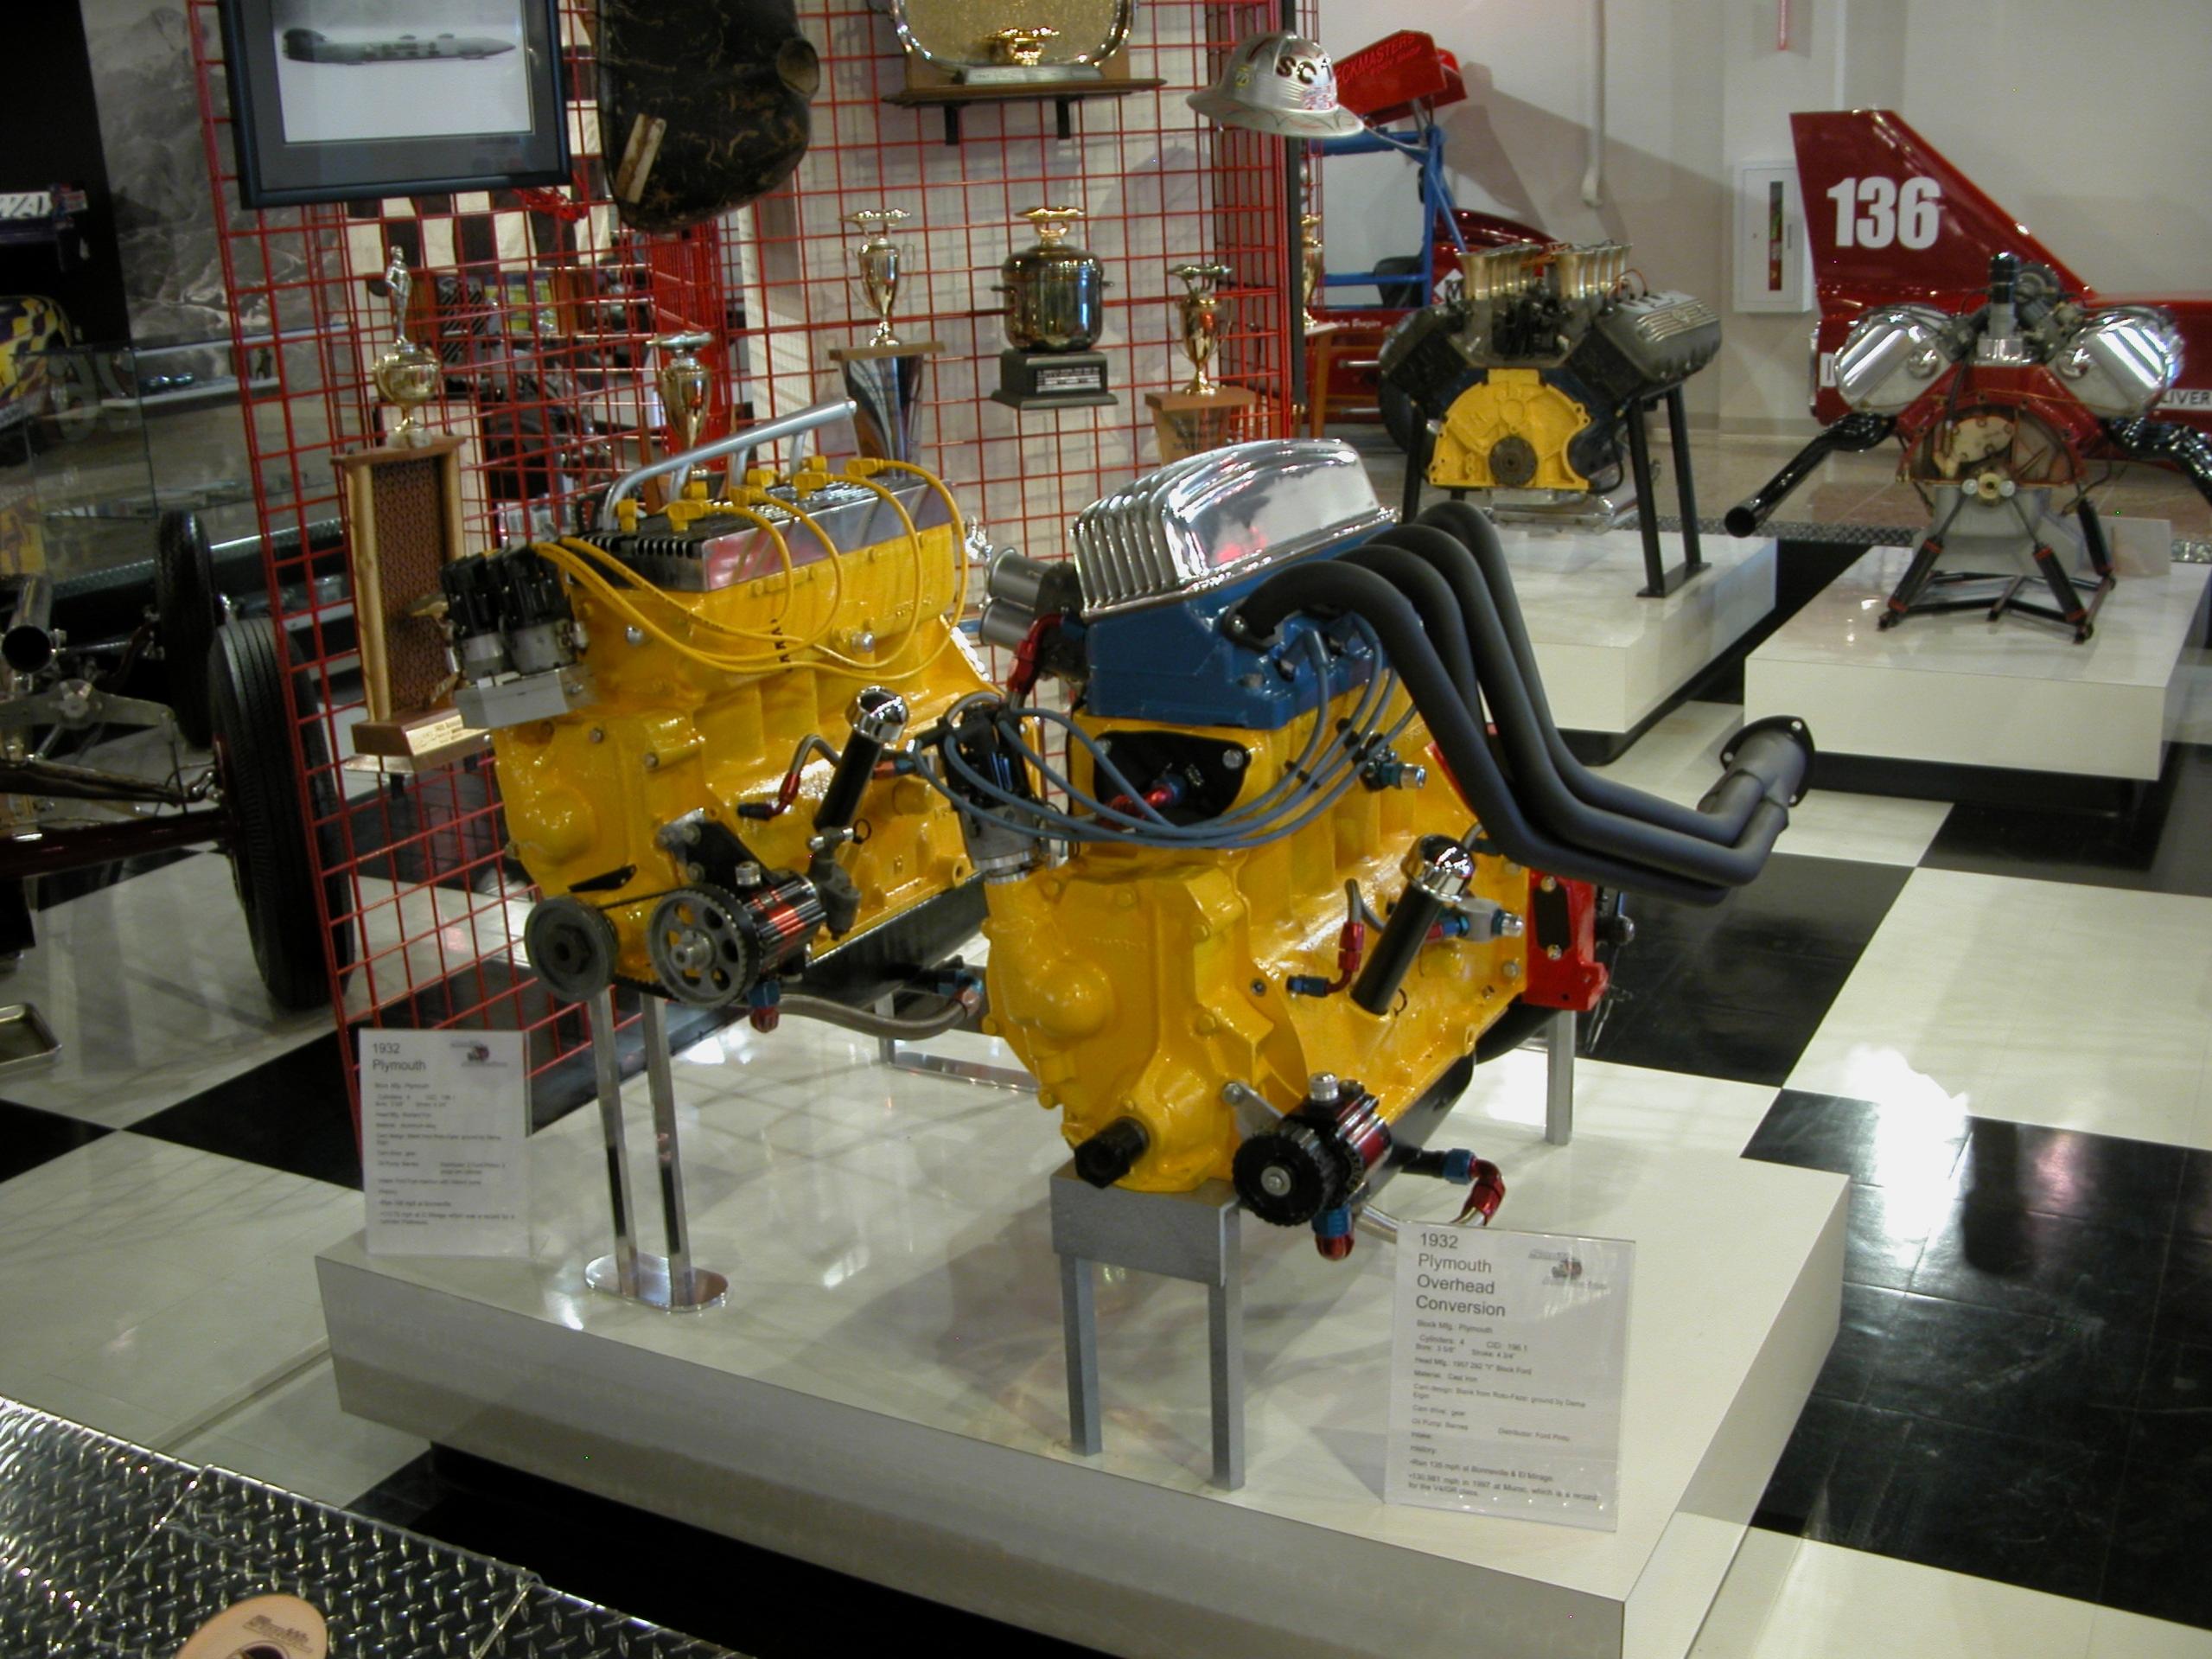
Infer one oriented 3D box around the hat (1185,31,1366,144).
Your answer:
[{"bbox_3d":[0.434,-1.931,4.531,0.390,0.175,0.370,11,39,11],"label":"hat"}]
